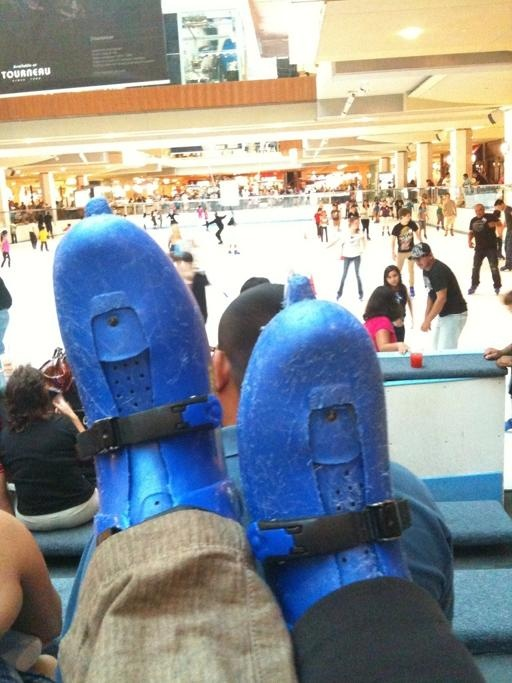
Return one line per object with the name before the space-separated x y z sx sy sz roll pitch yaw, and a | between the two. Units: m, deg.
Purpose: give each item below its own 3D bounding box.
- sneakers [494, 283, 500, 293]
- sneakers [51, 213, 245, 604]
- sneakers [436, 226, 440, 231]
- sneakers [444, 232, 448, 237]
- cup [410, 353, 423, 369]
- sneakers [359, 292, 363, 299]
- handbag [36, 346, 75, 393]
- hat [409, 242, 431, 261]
sneakers | 4.247 -0.968 9.726 0.118 0.152 0.042 -1 4 -43
sneakers | -0.163 0.130 0.857 0.215 0.674 0.276 -10 40 1
sneakers | 6.361 -3.992 19.224 0.059 0.170 0.069 -10 20 -36
sneakers | 6.231 -3.568 18.013 0.058 0.162 0.119 2 3 -12
cup | 0.831 0.095 2.854 0.075 0.072 0.079 0 -28 0
sneakers | 1.853 -0.831 9.701 0.057 0.138 0.137 2 -4 -3
handbag | -1.047 0.150 2.863 0.136 0.217 0.219 -7 -23 40
hat | 1.544 -0.851 5.262 0.225 0.126 0.138 -17 17 26
